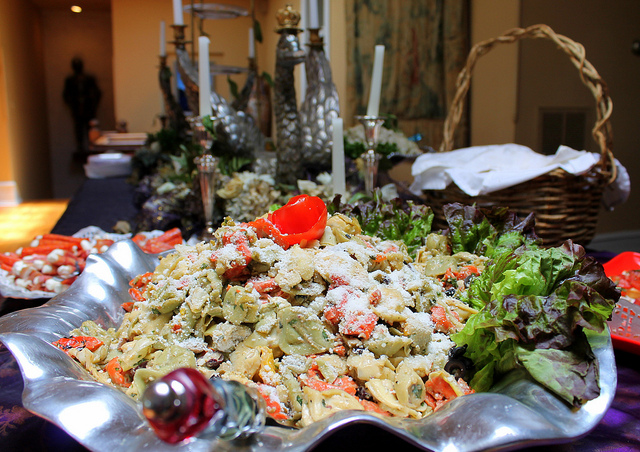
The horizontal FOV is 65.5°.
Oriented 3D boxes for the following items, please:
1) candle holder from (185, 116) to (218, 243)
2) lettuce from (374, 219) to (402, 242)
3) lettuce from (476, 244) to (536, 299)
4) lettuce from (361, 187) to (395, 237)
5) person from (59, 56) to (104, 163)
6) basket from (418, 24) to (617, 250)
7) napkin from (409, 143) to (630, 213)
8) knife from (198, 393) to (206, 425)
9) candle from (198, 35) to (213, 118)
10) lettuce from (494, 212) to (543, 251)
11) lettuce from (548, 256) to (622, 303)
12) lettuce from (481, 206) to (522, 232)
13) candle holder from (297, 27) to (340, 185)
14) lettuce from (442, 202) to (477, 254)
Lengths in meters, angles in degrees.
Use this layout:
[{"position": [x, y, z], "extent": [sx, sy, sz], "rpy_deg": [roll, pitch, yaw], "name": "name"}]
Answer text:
[{"position": [-0.401, -0.147, 1.723], "extent": [0.096, 0.461, 0.275], "rpy_deg": [-3, 16, -15], "name": "candle holder"}, {"position": [0.210, 0.012, 1.511], "extent": [0.083, 0.054, 0.051], "rpy_deg": [7, 17, 17], "name": "lettuce"}, {"position": [0.413, 0.086, 1.150], "extent": [0.103, 0.050, 0.106], "rpy_deg": [-32, 17, 28], "name": "lettuce"}, {"position": [0.179, -0.038, 1.562], "extent": [0.089, 0.122, 0.170], "rpy_deg": [8, 48, 14], "name": "lettuce"}, {"position": [-3.510, -1.709, 7.379], "extent": [0.575, 1.512, 0.306], "rpy_deg": [6, 16, 16], "name": "person"}, {"position": [0.697, -0.304, 1.703], "extent": [0.595, 0.706, 0.292], "rpy_deg": [6, 16, 16], "name": "basket"}, {"position": [0.633, -0.204, 1.752], "extent": [0.430, 0.423, 0.425], "rpy_deg": [-3, 11, -16], "name": "napkin"}, {"position": [-0.182, 0.280, 0.765], "extent": [0.009, 0.042, 0.016], "rpy_deg": [3, 15, 4], "name": "knife"}, {"position": [-0.375, -0.477, 1.609], "extent": [0.035, 0.248, 0.071], "rpy_deg": [-2, 16, -12], "name": "candle"}, {"position": [0.526, 0.017, 1.322], "extent": [0.101, 0.109, 0.072], "rpy_deg": [-2, 9, -14], "name": "lettuce"}, {"position": [0.556, 0.104, 1.032], "extent": [0.099, 0.047, 0.106], "rpy_deg": [-4, 27, -11], "name": "lettuce"}, {"position": [0.507, -0.020, 1.367], "extent": [0.074, 0.079, 0.031], "rpy_deg": [-7, -16, 12], "name": "lettuce"}, {"position": [-0.007, -0.463, 1.951], "extent": [0.211, 0.609, 0.188], "rpy_deg": [-1, -3, 21], "name": "candle holder"}, {"position": [0.401, 0.035, 1.373], "extent": [0.071, 0.049, 0.211], "rpy_deg": [3, 56, 1], "name": "lettuce"}]
